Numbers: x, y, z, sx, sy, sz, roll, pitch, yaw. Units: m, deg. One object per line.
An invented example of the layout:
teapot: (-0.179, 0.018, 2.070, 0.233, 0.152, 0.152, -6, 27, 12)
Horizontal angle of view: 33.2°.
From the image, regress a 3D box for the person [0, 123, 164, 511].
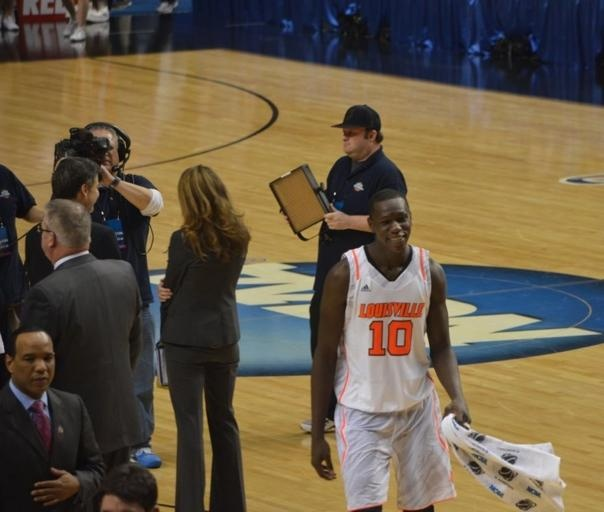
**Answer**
person: (-1.035, 0.268, 5.047, 0.673, 1.851, 1.148, 0, 5, -8)

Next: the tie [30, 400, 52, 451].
tie: (-1.067, 0.707, 4.187, 0.042, 0.182, 0.103, -11, -1, 16)

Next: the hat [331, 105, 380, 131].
hat: (0.322, -0.787, 5.744, 0.217, 0.120, 0.148, 2, 8, -7)
